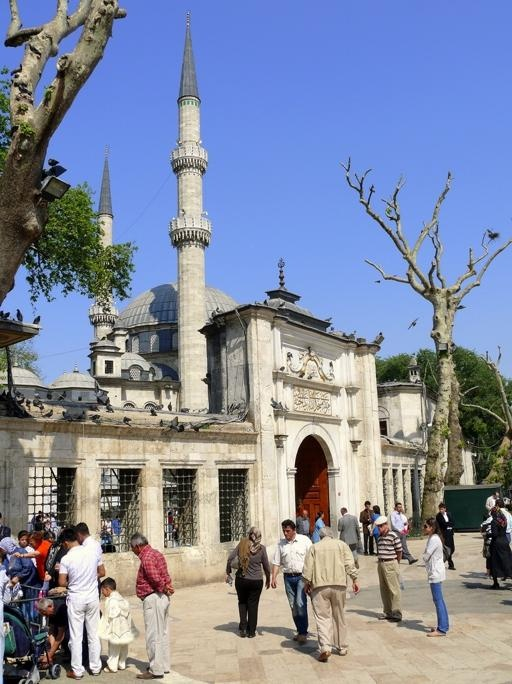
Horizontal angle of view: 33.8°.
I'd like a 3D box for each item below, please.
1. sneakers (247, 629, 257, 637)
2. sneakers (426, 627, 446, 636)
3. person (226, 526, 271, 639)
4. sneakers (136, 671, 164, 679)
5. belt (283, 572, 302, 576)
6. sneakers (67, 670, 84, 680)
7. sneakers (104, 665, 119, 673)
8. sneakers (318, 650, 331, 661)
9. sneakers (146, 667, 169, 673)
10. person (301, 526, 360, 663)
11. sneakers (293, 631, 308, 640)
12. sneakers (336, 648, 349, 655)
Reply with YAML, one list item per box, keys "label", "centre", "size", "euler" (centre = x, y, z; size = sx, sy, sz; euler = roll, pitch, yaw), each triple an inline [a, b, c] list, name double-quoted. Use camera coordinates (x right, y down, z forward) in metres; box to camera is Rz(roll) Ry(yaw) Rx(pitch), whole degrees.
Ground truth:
- label: "sneakers"
  centre: [-0.066, 3.844, 11.115]
  size: [0.110, 0.098, 0.231]
  euler: [-2, -12, -2]
- label: "sneakers"
  centre: [2.298, 3.744, 10.860]
  size: [0.220, 0.090, 0.110]
  euler: [4, -3, 37]
- label: "person"
  centre: [-0.100, 3.202, 11.253]
  size: [0.600, 1.412, 0.665]
  euler: [-2, -12, -1]
- label: "sneakers"
  centre: [-1.140, 3.602, 9.084]
  size: [0.292, 0.064, 0.097]
  euler: [-1, -12, -7]
- label: "belt"
  centre: [0.456, 3.030, 10.980]
  size: [0.307, 0.053, 0.064]
  euler: [-12, -15, 40]
- label: "sneakers"
  centre: [-1.947, 3.606, 9.140]
  size: [0.072, 0.078, 0.183]
  euler: [9, -2, -41]
- label: "sneakers"
  centre: [-1.627, 3.668, 9.466]
  size: [0.135, 0.090, 0.070]
  euler: [0, 0, 6]
- label: "sneakers"
  centre: [0.780, 3.624, 9.764]
  size: [0.140, 0.127, 0.328]
  euler: [-4, -12, 6]
- label: "sneakers"
  centre: [-1.064, 3.568, 9.176]
  size: [0.194, 0.086, 0.064]
  euler: [14, -18, -16]
- label: "person"
  centre: [0.887, 2.986, 10.077]
  size: [0.635, 1.487, 0.701]
  euler: [-3, -12, 3]
- label: "sneakers"
  centre: [0.573, 3.773, 10.795]
  size: [0.096, 0.091, 0.220]
  euler: [4, -8, -2]
- label: "sneakers"
  centre: [1.017, 3.673, 9.999]
  size: [0.121, 0.076, 0.207]
  euler: [-3, -12, 4]
